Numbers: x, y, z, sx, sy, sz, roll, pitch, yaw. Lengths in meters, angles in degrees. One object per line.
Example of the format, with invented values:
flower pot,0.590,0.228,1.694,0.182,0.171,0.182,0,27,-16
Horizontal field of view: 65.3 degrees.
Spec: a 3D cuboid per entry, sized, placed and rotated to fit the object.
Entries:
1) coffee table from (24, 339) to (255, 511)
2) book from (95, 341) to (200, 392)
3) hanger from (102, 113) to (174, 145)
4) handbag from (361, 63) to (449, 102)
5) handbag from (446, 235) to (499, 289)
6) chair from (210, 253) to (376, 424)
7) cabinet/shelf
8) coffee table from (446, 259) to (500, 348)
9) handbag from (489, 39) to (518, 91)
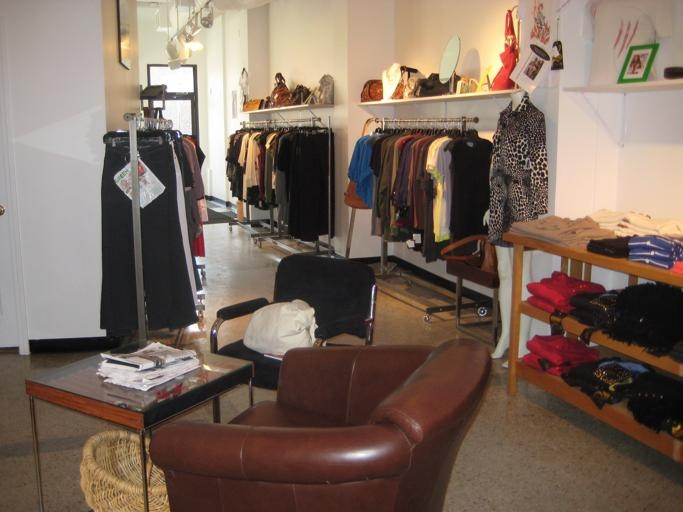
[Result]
coffee table,-0.892,0.537,2.592,0.746,0.793,0.822,5,10,29
book,-0.858,0.496,2.444,0.229,0.086,0.235,3,4,25
hanger,-1.470,-0.919,3.789,0.396,0.126,0.408,-1,8,-3
handbag,0.707,-1.815,5.727,0.858,0.276,0.541,-5,15,-2
handbag,1.214,0.040,4.544,0.485,0.511,0.379,-3,8,-38
chair,-0.323,0.374,3.287,0.842,1.032,0.811,6,7,33
cabinet/shelf,1.473,0.519,3.084,0.471,0.974,1.137,-5,13,-23
coffee table,1.129,0.399,4.495,0.337,0.453,0.615,-6,12,-24
handbag,1.370,-1.576,4.447,0.163,0.401,0.395,-1,12,-4
